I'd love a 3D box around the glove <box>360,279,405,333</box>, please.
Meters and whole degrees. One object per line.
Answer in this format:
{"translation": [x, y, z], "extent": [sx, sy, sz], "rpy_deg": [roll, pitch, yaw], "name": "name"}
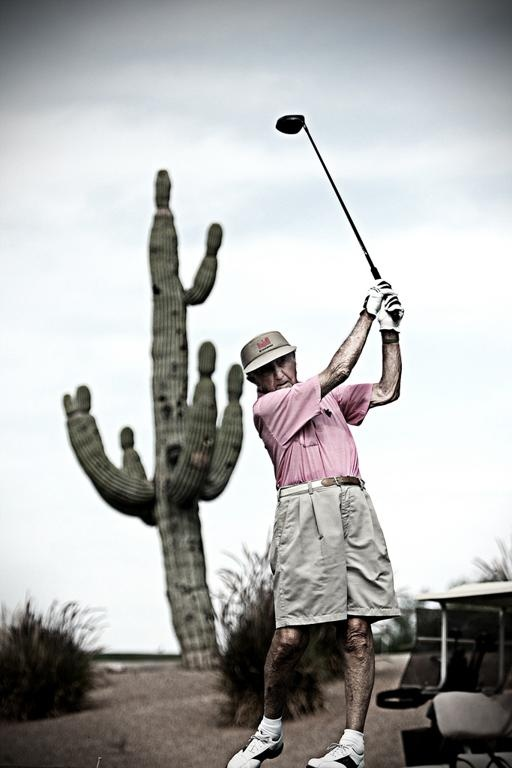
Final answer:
{"translation": [0.537, -0.324, 4.848], "extent": [0.147, 0.227, 0.115], "rpy_deg": [4, -7, -22], "name": "glove"}
